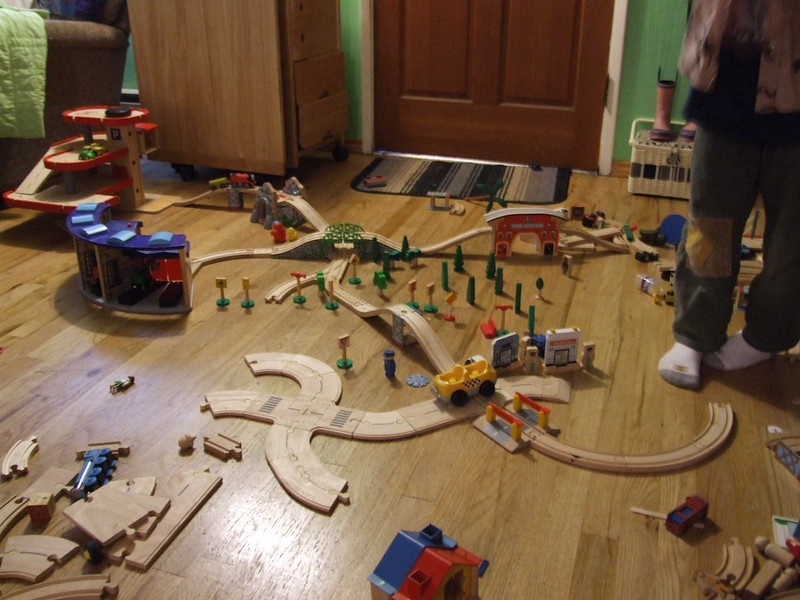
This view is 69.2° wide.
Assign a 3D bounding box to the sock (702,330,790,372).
[{"bbox_3d":[1.135,0.192,1.973,0.284,0.126,0.100,-6,51,12],"label":"sock"}]

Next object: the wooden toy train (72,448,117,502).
[{"bbox_3d":[-0.848,0.473,1.574,0.100,0.045,0.145,4,26,-12],"label":"wooden toy train"}]
